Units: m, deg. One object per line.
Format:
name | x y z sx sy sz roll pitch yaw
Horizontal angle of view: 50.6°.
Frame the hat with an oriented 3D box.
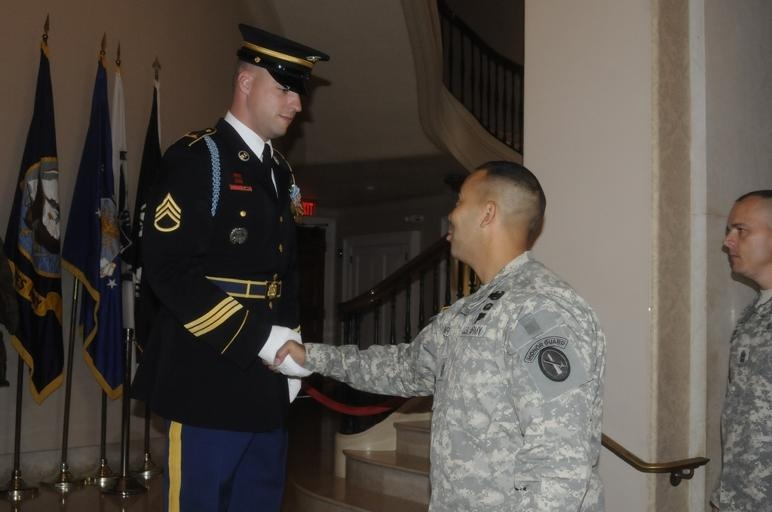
hat | -0.501 -0.953 3.820 0.515 0.261 0.468 21 16 41
